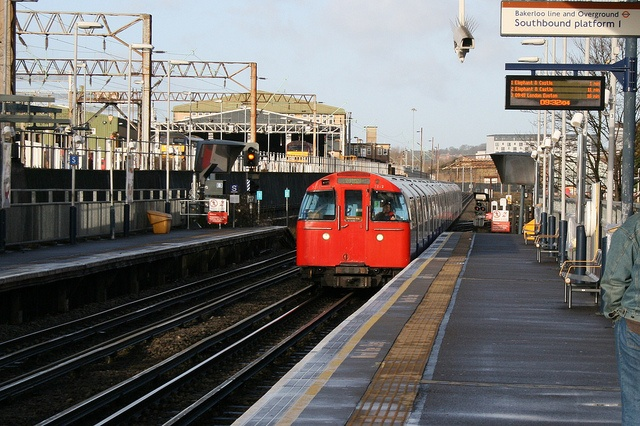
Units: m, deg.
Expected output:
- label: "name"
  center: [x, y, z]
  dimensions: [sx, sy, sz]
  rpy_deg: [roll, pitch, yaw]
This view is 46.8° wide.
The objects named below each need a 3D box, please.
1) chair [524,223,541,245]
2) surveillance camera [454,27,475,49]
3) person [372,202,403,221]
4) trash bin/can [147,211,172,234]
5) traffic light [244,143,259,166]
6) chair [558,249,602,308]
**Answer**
- label: "chair"
  center: [9.240, 0.866, 31.976]
  dimensions: [0.790, 1.218, 0.808]
  rpy_deg: [-2, -1, -12]
- label: "surveillance camera"
  center: [2.821, -3.462, 14.473]
  dimensions: [0.361, 0.477, 0.275]
  rpy_deg: [2, 4, 7]
- label: "person"
  center: [2.017, -0.068, 21.934]
  dimensions: [0.956, 0.559, 0.300]
  rpy_deg: [1, 4, -18]
- label: "trash bin/can"
  center: [-7.360, 0.420, 33.690]
  dimensions: [0.960, 1.038, 0.959]
  rpy_deg: [-8, -7, 8]
- label: "traffic light"
  center: [-3.745, -3.156, 39.510]
  dimensions: [0.768, 1.208, 1.591]
  rpy_deg: [1, 4, -8]
- label: "chair"
  center: [6.091, 1.511, 16.949]
  dimensions: [0.835, 1.269, 2.347]
  rpy_deg: [-1, -3, 16]
